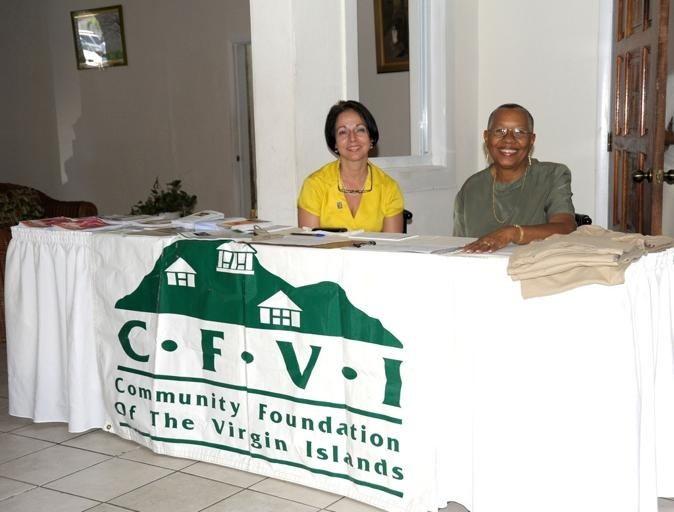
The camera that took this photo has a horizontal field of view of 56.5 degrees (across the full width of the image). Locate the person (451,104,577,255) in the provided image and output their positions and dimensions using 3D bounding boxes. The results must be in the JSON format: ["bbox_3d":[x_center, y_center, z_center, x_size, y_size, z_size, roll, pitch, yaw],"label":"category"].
[{"bbox_3d":[0.876,-0.304,3.217,0.605,0.954,0.513,-5,-18,39],"label":"person"}]

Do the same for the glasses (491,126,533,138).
[{"bbox_3d":[0.860,-0.611,3.118,0.161,0.051,0.047,2,12,15],"label":"glasses"}]

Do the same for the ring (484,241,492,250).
[{"bbox_3d":[0.583,-0.043,2.425,0.018,0.027,0.007,0,-16,5],"label":"ring"}]

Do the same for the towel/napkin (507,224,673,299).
[{"bbox_3d":[0.903,0.025,2.267,0.605,0.200,0.364,-7,13,-25],"label":"towel/napkin"}]

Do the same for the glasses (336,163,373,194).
[{"bbox_3d":[0.102,-0.425,3.487,0.215,0.145,0.116,-4,11,-10],"label":"glasses"}]
